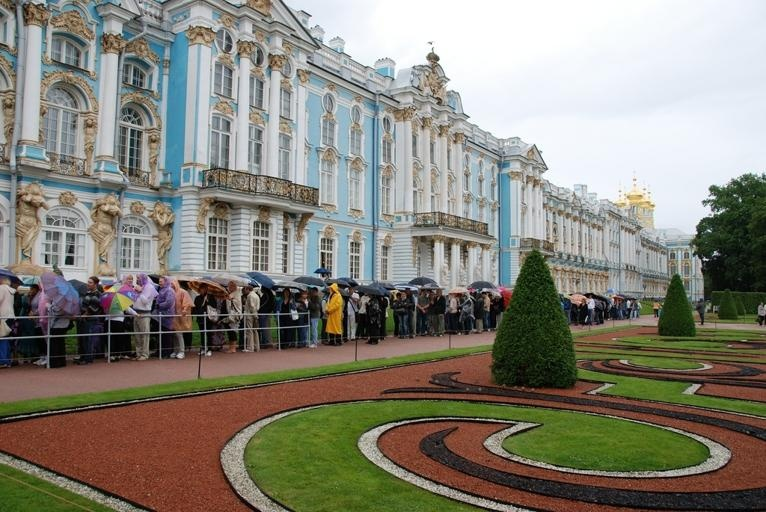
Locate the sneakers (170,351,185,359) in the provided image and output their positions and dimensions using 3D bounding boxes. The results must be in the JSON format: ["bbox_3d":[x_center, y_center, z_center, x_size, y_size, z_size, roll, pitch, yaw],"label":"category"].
[{"bbox_3d":[-6.301,3.028,22.285,0.190,0.206,0.507,0,-15,0],"label":"sneakers"}]

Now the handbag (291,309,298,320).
[{"bbox_3d":[-3.115,2.019,25.097,0.291,0.374,0.297,-1,-9,-4],"label":"handbag"}]

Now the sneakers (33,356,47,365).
[{"bbox_3d":[-9.577,2.957,20.374,0.310,0.179,0.509,1,-4,-9],"label":"sneakers"}]
